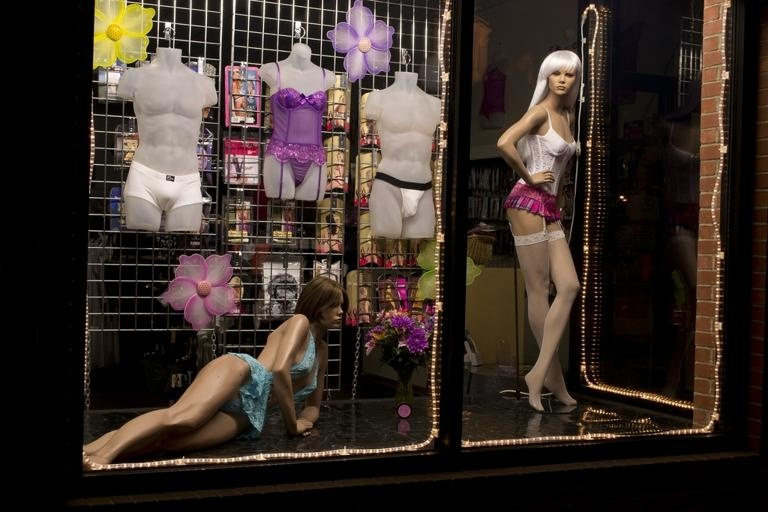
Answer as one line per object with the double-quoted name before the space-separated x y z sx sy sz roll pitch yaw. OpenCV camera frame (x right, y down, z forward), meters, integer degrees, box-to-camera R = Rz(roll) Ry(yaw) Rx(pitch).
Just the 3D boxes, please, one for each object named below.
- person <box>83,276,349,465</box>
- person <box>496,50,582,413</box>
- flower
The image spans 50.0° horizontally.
"person" -1.028 0.731 4.934 1.829 0.984 0.475 -5 -21 -23
"person" 1.081 -0.181 5.792 0.577 2.505 0.375 1 3 -3
"flower" 0.068 0.741 5.819 0.505 0.565 0.547 -8 11 8
